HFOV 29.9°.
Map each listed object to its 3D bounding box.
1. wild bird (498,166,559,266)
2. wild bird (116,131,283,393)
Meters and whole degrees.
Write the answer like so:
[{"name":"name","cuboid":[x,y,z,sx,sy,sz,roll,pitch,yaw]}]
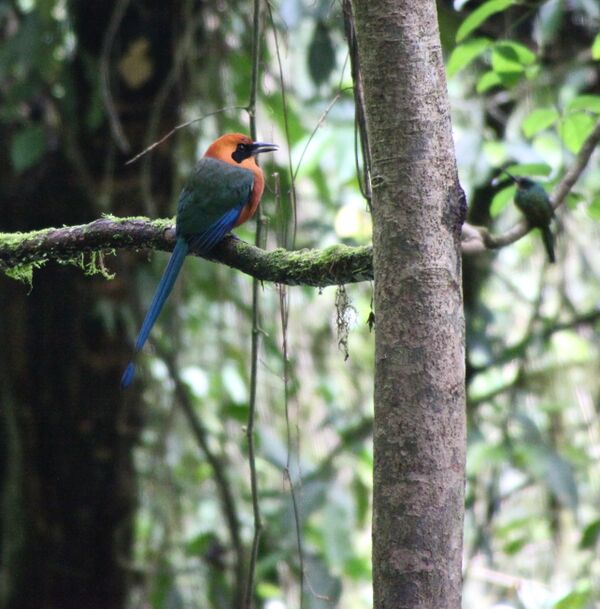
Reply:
[{"name":"wild bird","cuboid":[1.203,-0.457,5.925,0.272,0.494,0.293,2,6,14]},{"name":"wild bird","cuboid":[-0.676,-0.408,6.671,1.490,0.776,0.391,-37,20,-29]}]
